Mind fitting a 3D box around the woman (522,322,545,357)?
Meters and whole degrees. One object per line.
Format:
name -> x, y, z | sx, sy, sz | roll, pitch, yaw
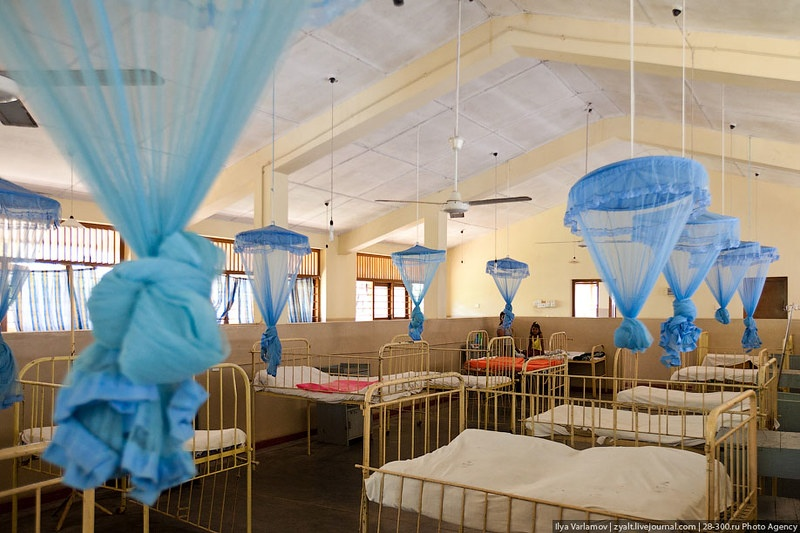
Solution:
woman -> 2.697, 1.489, 13.360 | 0.473, 0.729, 0.505 | 5, -4, -41
